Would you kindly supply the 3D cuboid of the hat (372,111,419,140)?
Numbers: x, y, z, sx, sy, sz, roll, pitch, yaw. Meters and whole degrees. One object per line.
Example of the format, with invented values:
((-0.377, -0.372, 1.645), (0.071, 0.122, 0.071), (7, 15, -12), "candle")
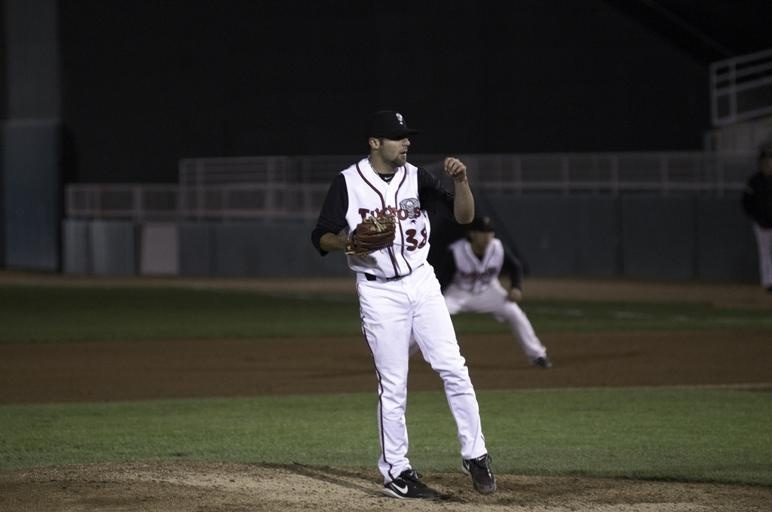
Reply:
((0.130, -1.969, 19.464), (0.560, 0.291, 0.417), (-3, 6, 23), "hat")
